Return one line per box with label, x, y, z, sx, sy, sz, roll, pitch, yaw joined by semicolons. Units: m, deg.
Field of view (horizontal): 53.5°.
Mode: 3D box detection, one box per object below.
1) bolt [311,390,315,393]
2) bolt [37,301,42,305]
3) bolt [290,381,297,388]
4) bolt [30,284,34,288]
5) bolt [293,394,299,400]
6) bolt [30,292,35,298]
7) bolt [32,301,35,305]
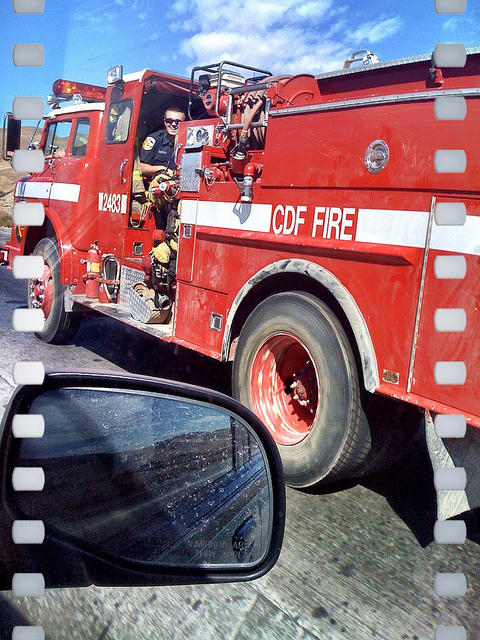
bolt;0.443;0.438;2.910;0.012;0.014;0.003;7;-24;5
bolt;-2.337;-0.197;5.541;0.035;0.010;0.037;12;18;31
bolt;0.342;0.416;3.036;0.027;0.014;0.038;7;10;39
bolt;-2.446;-0.405;5.605;0.031;0.037;0.011;-10;24;-11
bolt;0.359;0.494;3.056;0.049;0.021;0.053;2;5;-1
bolt;-2.444;-0.294;5.608;0.034;0.056;0.017;6;-5;-2
bolt;-2.431;-0.203;5.610;0.037;0.044;0.010;12;-7;15
